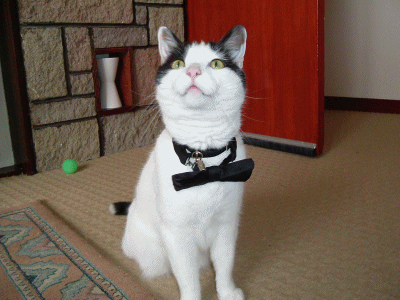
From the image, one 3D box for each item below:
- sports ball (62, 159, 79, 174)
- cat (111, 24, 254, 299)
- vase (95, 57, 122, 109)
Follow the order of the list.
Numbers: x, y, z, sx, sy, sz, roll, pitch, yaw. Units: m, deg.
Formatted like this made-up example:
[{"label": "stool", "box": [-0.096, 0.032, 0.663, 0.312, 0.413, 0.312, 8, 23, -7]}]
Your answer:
[{"label": "sports ball", "box": [-0.821, 0.098, 2.272, 0.081, 0.091, 0.097, 19, 7, -32]}, {"label": "cat", "box": [-0.057, 0.070, 1.197, 0.472, 0.915, 0.334, -5, 19, -8]}, {"label": "vase", "box": [-0.643, -0.477, 2.514, 0.159, 0.350, 0.093, -8, 19, -15]}]
